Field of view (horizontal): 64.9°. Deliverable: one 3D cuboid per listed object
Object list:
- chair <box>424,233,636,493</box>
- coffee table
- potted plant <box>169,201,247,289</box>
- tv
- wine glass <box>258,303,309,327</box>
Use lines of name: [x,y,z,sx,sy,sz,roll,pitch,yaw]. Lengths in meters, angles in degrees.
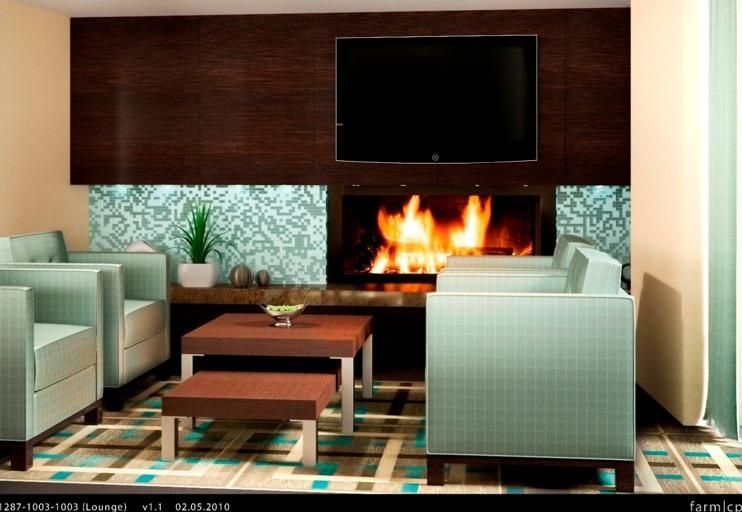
chair: [0.842,0.550,3.315,1.050,1.153,0.946,1,8,4]
coffee table: [-0.546,0.771,3.600,0.773,0.359,1.123,0,0,8]
potted plant: [-1.596,-0.118,5.311,0.643,0.751,0.541,1,8,8]
tv: [0.616,-1.388,5.081,1.389,0.754,0.060,0,4,1]
wine glass: [-0.597,0.384,4.023,0.237,0.087,0.190,0,0,5]
